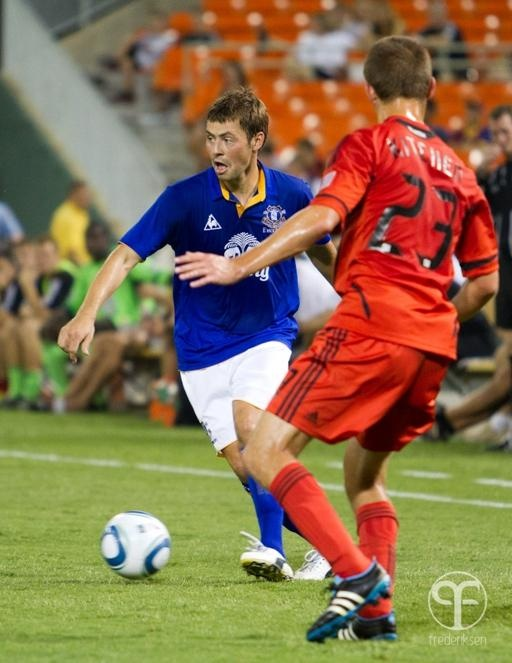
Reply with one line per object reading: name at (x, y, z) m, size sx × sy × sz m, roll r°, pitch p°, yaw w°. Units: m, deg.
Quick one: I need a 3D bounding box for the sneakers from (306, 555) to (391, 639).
sneakers at (0.211, 0.628, 1.933) m, size 0.207 × 0.148 × 0.078 m, roll -19°, pitch 31°, yaw -22°

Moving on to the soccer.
soccer at (-0.380, 0.682, 2.780) m, size 0.266 × 0.197 × 0.215 m, roll 4°, pitch 16°, yaw 2°

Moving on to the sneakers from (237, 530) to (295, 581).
sneakers at (0.014, 0.768, 2.861) m, size 0.103 × 0.267 × 0.116 m, roll -24°, pitch 45°, yaw 29°

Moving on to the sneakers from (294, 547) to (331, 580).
sneakers at (0.205, 0.829, 2.947) m, size 0.084 × 0.062 × 0.190 m, roll 35°, pitch 9°, yaw 2°

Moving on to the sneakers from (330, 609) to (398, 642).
sneakers at (0.276, 0.709, 2.010) m, size 0.196 × 0.061 × 0.060 m, roll 1°, pitch -4°, yaw 0°

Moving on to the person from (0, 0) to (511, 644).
person at (0.290, 0.029, 2.218) m, size 0.630 × 1.449 × 1.178 m, roll 1°, pitch 30°, yaw 17°
